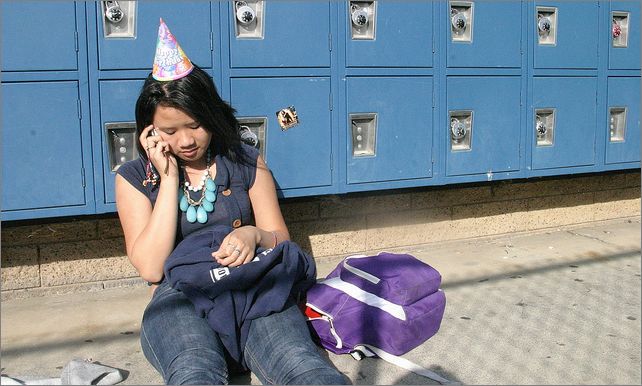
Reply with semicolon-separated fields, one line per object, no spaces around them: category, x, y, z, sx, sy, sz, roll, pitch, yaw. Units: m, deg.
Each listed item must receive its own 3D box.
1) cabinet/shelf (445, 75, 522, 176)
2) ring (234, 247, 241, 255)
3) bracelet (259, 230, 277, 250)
cabinet/shelf;1.495;-0.663;4.751;0.895;1.044;0.360;-3;4;-21
ring;-0.497;0.349;3.038;0.028;0.038;0.013;-2;-15;-27
bracelet;-0.331;0.307;3.256;0.102;0.085;0.106;4;16;30
